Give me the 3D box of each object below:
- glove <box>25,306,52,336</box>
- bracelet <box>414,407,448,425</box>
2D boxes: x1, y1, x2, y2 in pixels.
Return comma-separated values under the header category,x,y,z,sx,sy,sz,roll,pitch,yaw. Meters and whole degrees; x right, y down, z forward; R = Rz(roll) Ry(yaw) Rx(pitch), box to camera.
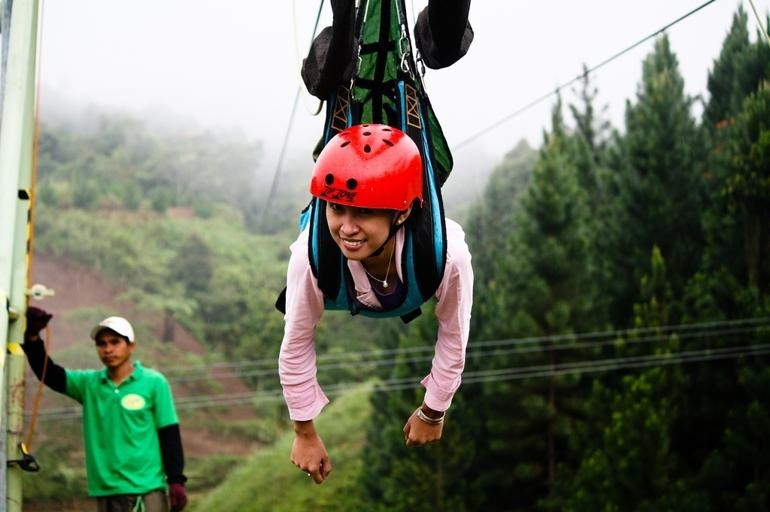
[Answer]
category,x,y,z,sx,sy,sz,roll,pitch,yaw
glove,-5.981,1.094,16.930,0.419,0.498,0.141,1,21,0
bracelet,0.722,2.696,16.527,0.330,0.143,0.307,23,-2,14
